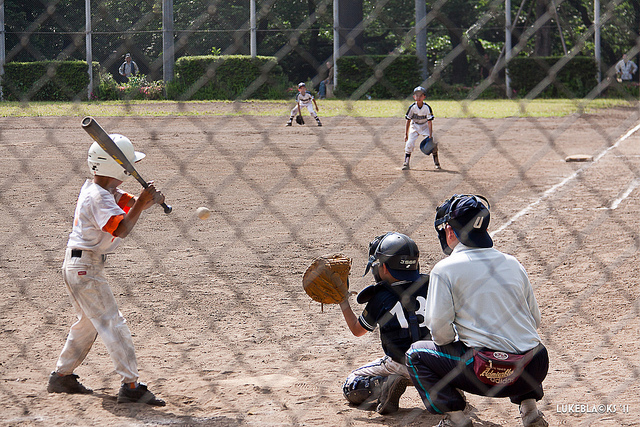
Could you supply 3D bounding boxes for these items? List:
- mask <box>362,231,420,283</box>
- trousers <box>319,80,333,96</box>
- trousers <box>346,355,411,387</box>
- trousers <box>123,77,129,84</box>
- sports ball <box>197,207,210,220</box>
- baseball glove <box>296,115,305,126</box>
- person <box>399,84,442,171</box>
[{"bbox_3d":[0.937,0.595,14.394,0.651,0.656,0.758,-1,7,-17],"label":"mask"},{"bbox_3d":[0.312,-4.578,37.607,0.484,0.788,0.454,-1,3,1],"label":"trousers"},{"bbox_3d":[0.805,2.177,14.305,0.768,0.267,0.433,0,0,8],"label":"trousers"},{"bbox_3d":[-6.596,-4.561,35.097,0.080,0.244,0.193,9,9,-29],"label":"trousers"},{"bbox_3d":[-1.671,-0.012,14.900,0.178,0.162,0.165,14,-29,8],"label":"sports ball"},{"bbox_3d":[-0.623,-2.606,28.659,0.366,0.324,0.099,-6,3,-35],"label":"baseball glove"},{"bbox_3d":[2.207,-1.908,22.897,1.018,1.765,0.718,-2,6,-14],"label":"person"}]
